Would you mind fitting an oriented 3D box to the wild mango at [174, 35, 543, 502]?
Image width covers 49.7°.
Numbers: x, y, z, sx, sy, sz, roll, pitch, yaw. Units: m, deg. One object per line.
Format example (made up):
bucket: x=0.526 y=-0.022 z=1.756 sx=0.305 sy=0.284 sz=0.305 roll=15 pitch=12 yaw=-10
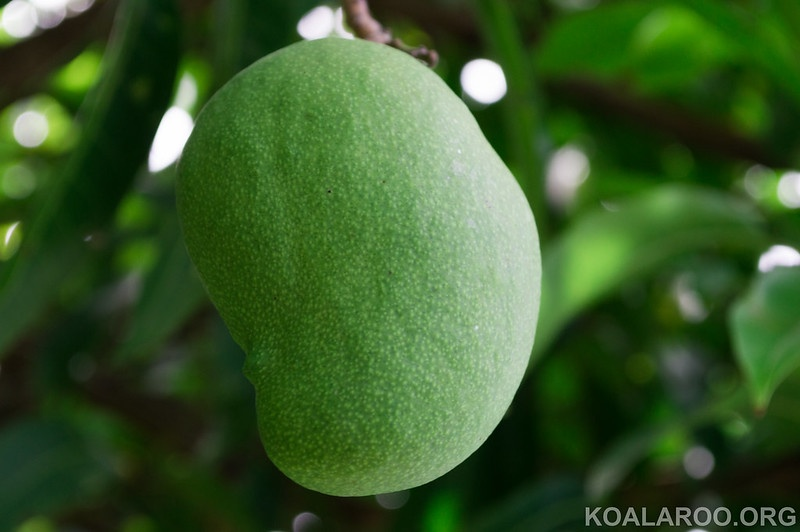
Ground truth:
wild mango: x=-0.026 y=-0.008 z=0.708 sx=0.262 sy=0.196 sz=0.313 roll=-23 pitch=58 yaw=-13
